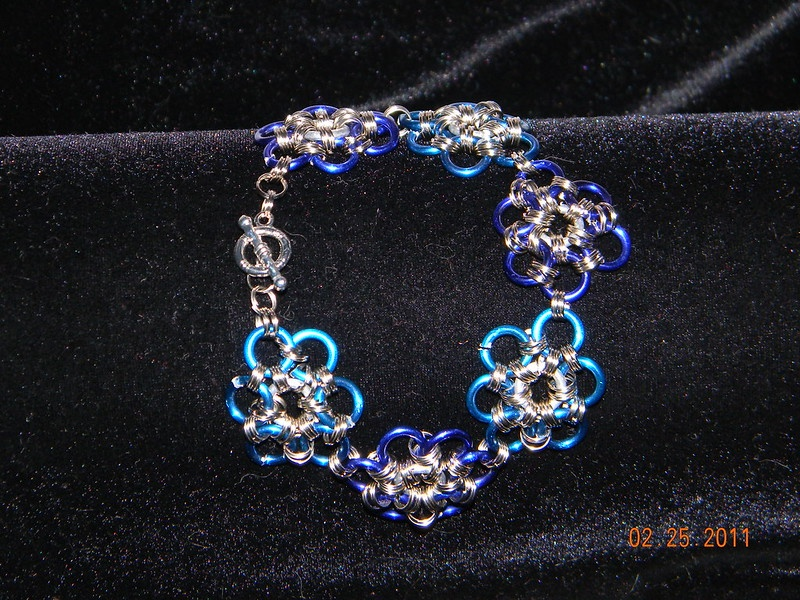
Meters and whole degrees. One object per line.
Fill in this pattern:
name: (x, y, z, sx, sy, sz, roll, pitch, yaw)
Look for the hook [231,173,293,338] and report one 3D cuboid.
hook: (-0.201, -0.069, 1.491, 0.085, 0.051, 0.285, -18, 72, 23)
